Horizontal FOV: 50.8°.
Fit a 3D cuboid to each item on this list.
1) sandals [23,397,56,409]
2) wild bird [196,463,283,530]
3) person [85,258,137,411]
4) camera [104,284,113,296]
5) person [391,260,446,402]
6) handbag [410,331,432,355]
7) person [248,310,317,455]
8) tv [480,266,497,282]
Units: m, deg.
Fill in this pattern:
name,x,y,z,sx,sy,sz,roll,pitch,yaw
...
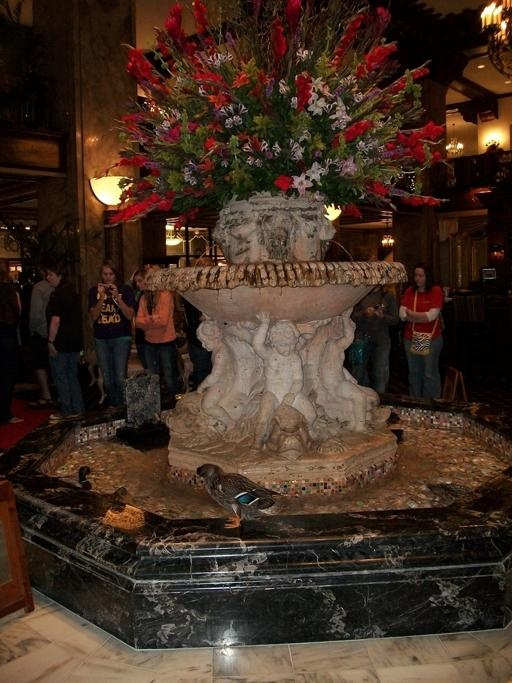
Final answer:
name,x,y,z,sx,sy,sz,roll,pitch,yaw
sandals,-2.645,0.762,6.622,0.412,0.130,0.154,4,0,-24
wild bird,-0.059,0.522,1.868,0.296,0.195,0.127,-4,-10,2
person,-1.349,-0.055,5.165,0.402,1.378,0.447,-7,9,-29
camera,-1.372,-0.491,5.010,0.092,0.081,0.024,-5,3,19
person,1.567,-0.063,5.132,0.394,1.302,0.527,0,8,18
handbag,1.558,0.017,5.077,0.064,0.185,0.200,1,-2,-29
person,0.136,0.195,2.737,0.322,0.668,0.280,-4,8,-15
tv,6.637,-1.891,15.326,0.473,0.431,0.474,0,-2,43
